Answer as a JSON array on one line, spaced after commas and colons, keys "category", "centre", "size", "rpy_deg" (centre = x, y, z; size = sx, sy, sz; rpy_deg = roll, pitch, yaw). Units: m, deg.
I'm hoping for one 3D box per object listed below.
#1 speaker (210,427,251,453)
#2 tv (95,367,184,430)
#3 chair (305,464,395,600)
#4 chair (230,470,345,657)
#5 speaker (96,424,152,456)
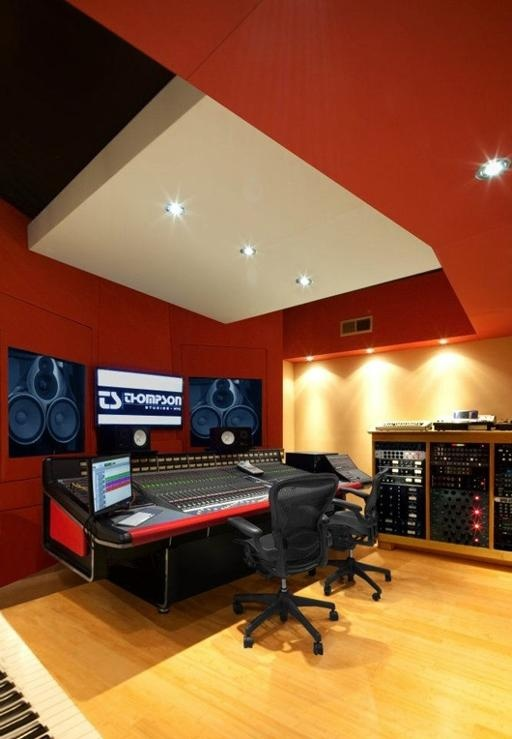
[{"category": "speaker", "centre": [-0.199, 0.569, 4.208], "size": [0.342, 0.226, 0.184], "rpy_deg": [4, -9, -27]}, {"category": "tv", "centre": [-0.919, 0.244, 4.233], "size": [0.057, 0.480, 0.941], "rpy_deg": [-1, -4, 32]}, {"category": "chair", "centre": [0.677, 1.076, 3.543], "size": [0.484, 0.802, 0.517], "rpy_deg": [2, 0, -23]}, {"category": "chair", "centre": [0.158, 0.970, 2.799], "size": [0.532, 0.888, 0.602], "rpy_deg": [5, 5, 43]}, {"category": "speaker", "centre": [-0.995, 0.497, 3.958], "size": [0.351, 0.236, 0.252], "rpy_deg": [0, -1, 20]}]
